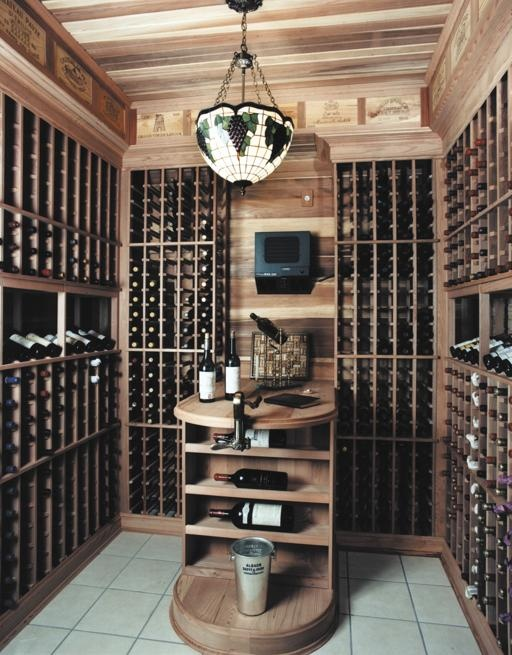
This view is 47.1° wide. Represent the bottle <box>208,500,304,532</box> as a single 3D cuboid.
[{"bbox_3d":[-0.023,0.856,2.675,0.391,0.107,0.091,2,6,13],"label":"bottle"}]

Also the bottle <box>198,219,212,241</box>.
[{"bbox_3d":[-0.302,-0.574,3.478,0.079,0.140,0.103,0,6,-7],"label":"bottle"}]

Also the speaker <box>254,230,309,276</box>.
[{"bbox_3d":[0.152,-0.424,3.436,0.270,0.226,0.098,0,-1,7],"label":"speaker"}]

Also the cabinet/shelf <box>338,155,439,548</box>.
[{"bbox_3d":[0.731,0.103,3.414,0.584,2.111,0.457,1,6,7],"label":"cabinet/shelf"}]

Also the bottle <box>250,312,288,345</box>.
[{"bbox_3d":[0.071,0.006,3.127,0.177,0.172,0.360,1,6,3],"label":"bottle"}]

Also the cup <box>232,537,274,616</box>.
[{"bbox_3d":[-0.014,1.066,2.531,0.194,0.296,0.188,1,6,0],"label":"cup"}]
